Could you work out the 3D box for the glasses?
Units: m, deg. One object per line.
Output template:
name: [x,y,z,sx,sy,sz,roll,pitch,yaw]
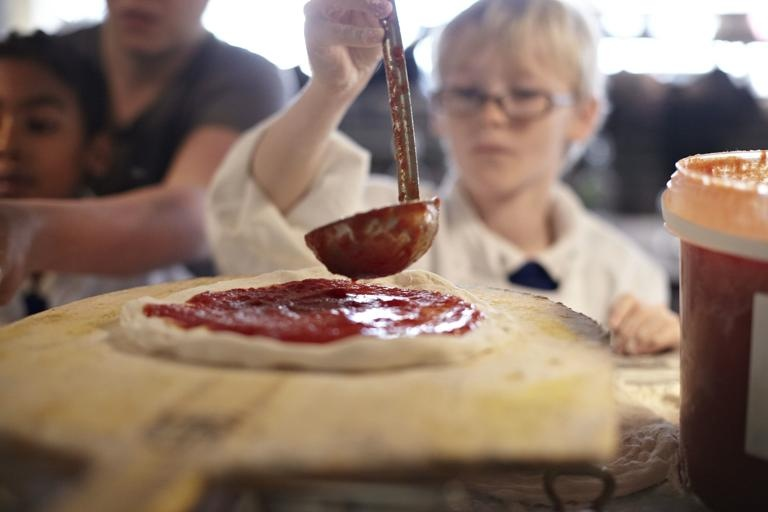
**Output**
glasses: [0.243,-0.304,1.438,0.265,0.066,0.141,0,22,8]
